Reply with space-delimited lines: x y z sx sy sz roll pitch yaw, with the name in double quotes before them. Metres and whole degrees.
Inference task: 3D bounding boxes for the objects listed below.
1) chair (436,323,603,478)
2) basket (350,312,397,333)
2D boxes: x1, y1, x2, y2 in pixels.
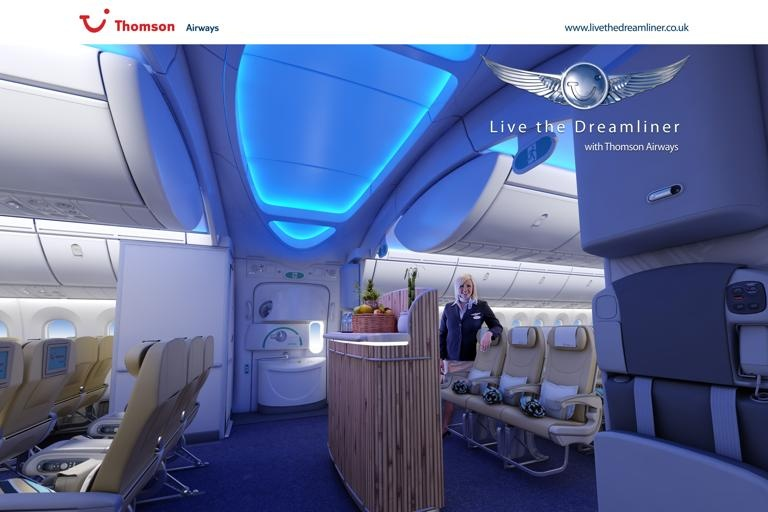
"chair" 1.742 1.658 5.490 0.982 1.662 1.782 -1 0 -30
"basket" -0.108 0.643 4.370 0.398 0.189 0.253 -1 -1 -4
